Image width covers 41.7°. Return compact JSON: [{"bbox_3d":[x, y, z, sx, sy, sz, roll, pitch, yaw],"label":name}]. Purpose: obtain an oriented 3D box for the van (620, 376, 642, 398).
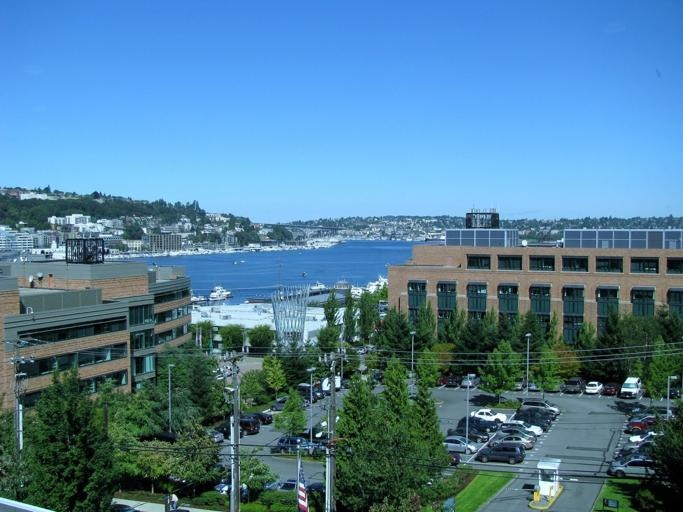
[{"bbox_3d":[28.585,13.016,88.447,1.394,1.030,2.549,-3,-2,28],"label":"van"}]
